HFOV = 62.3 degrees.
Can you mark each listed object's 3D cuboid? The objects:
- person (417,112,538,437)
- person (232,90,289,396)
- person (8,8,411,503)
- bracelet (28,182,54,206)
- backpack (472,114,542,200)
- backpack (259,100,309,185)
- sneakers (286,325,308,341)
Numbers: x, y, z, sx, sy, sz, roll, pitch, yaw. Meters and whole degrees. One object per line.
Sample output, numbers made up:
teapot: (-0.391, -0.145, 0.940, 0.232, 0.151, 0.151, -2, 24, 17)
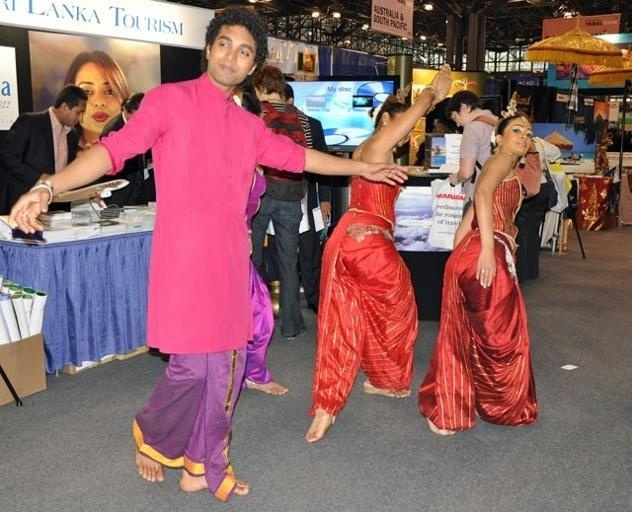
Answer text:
person: (0.855, 0.109, 2.669, 0.619, 1.585, 0.461, -5, 18, -19)
person: (-0.343, -0.074, 3.012, 0.462, 1.770, 0.451, 2, -8, -8)
person: (-0.461, 0.072, 1.978, 1.143, 1.898, 0.390, -11, 21, -34)
bracelet: (-0.783, -0.173, 1.513, 0.051, 0.075, 0.033, 1, 0, -2)
backpack: (0.962, -0.431, 2.694, 0.380, 0.560, 0.240, 0, 4, -33)
backpack: (-0.203, -0.788, 3.751, 0.378, 0.593, 0.312, 10, 26, 22)
sneakers: (-0.145, 0.595, 4.088, 0.064, 0.081, 0.180, 7, 15, 24)
